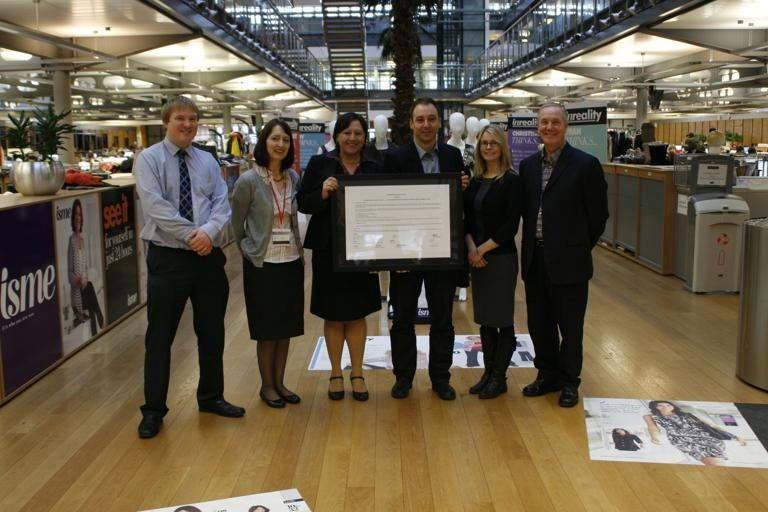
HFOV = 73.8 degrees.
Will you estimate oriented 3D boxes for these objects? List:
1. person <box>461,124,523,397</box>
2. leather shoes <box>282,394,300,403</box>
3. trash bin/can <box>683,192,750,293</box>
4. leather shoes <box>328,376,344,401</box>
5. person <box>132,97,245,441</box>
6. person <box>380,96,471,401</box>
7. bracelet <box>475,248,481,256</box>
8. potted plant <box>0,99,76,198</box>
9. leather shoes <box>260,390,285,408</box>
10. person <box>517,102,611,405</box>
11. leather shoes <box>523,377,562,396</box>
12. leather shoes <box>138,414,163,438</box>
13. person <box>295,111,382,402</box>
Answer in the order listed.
[{"bbox_3d":[0.813,0.076,3.853,0.404,2.011,0.335,0,11,4],"label":"person"},{"bbox_3d":[-0.697,1.082,3.888,0.111,0.035,0.062,2,7,8],"label":"leather shoes"},{"bbox_3d":[4.338,-0.216,6.793,0.708,1.250,0.732,-1,7,-1],"label":"trash bin/can"},{"bbox_3d":[-0.367,1.026,3.939,0.078,0.069,0.222,0,6,-2],"label":"leather shoes"},{"bbox_3d":[-1.419,0.048,3.584,0.726,2.245,0.523,-5,12,-22],"label":"person"},{"bbox_3d":[0.315,-0.035,3.893,0.619,2.224,0.523,1,11,7],"label":"person"},{"bbox_3d":[0.691,-0.024,3.797,0.029,0.050,0.023,3,12,17],"label":"bracelet"},{"bbox_3d":[-3.233,-1.010,4.865,0.514,0.830,1.053,-7,13,-30],"label":"potted plant"},{"bbox_3d":[-0.841,1.073,3.871,0.178,0.075,0.090,6,8,36],"label":"leather shoes"},{"bbox_3d":[1.281,0.001,3.787,0.641,2.182,0.430,4,12,25],"label":"person"},{"bbox_3d":[1.213,1.020,4.029,0.343,0.156,0.127,-1,1,-22],"label":"leather shoes"},{"bbox_3d":[-1.585,1.161,3.495,0.073,0.091,0.226,2,2,-8],"label":"leather shoes"},{"bbox_3d":[-0.308,0.030,3.855,0.582,2.129,0.463,-9,14,-37],"label":"person"}]
